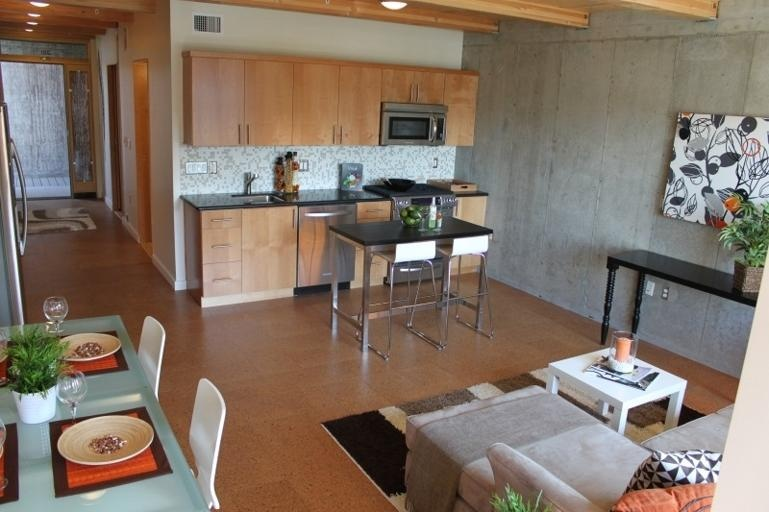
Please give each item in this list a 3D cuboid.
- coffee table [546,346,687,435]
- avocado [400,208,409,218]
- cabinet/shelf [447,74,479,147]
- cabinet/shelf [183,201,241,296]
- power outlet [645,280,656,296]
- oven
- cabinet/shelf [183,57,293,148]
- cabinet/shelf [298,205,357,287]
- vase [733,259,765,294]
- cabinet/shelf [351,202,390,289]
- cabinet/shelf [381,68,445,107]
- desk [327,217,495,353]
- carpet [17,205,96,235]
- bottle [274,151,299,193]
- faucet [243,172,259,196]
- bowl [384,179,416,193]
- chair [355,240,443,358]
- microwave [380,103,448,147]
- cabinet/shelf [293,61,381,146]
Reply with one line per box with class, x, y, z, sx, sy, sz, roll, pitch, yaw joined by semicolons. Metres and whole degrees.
coffee table;1.813;1.152;4.535;0.681;0.909;0.913;24;-20;15
avocado;0.211;-0.462;5.973;0.087;0.052;0.099;5;9;4
cabinet/shelf;0.966;-2.151;7.974;0.671;0.958;0.670;2;10;4
cabinet/shelf;-2.085;-0.053;6.488;0.792;1.087;0.440;8;18;32
power outlet;2.910;0.346;6.045;0.147;0.196;0.023;13;24;41
oven;0.437;-0.482;6.448;0.702;0.617;0.357;-4;33;-7
cabinet/shelf;-1.749;-1.892;6.590;1.313;1.045;0.471;-9;27;-36
cabinet/shelf;-0.917;-0.146;7.174;0.909;1.075;0.836;-3;11;-22
vase;3.084;0.171;4.672;0.250;0.229;0.246;8;18;29
cabinet/shelf;-0.210;-0.177;7.308;0.632;0.908;0.555;-3;-8;-18
cabinet/shelf;0.361;-2.277;7.473;0.907;0.424;0.294;-2;19;-10
desk;0.318;0.306;6.209;1.629;1.180;1.183;-6;14;-34
carpet;-5.807;-0.666;9.789;1.039;0.011;0.883;0;22;-13
bottle;-1.246;-1.088;7.106;0.369;0.515;0.226;-8;16;-24
faucet;-1.691;-0.922;6.965;0.191;0.277;0.124;-6;15;-16
bowl;0.187;-0.962;7.459;0.388;0.162;0.330;-1;14;3
chair;0.140;0.505;6.193;0.851;1.474;0.859;-9;23;-27
microwave;0.332;-1.795;7.623;0.966;0.540;0.578;-2;13;-13
cabinet/shelf;-0.648;-1.937;6.883;1.066;0.880;0.424;-7;20;-25
